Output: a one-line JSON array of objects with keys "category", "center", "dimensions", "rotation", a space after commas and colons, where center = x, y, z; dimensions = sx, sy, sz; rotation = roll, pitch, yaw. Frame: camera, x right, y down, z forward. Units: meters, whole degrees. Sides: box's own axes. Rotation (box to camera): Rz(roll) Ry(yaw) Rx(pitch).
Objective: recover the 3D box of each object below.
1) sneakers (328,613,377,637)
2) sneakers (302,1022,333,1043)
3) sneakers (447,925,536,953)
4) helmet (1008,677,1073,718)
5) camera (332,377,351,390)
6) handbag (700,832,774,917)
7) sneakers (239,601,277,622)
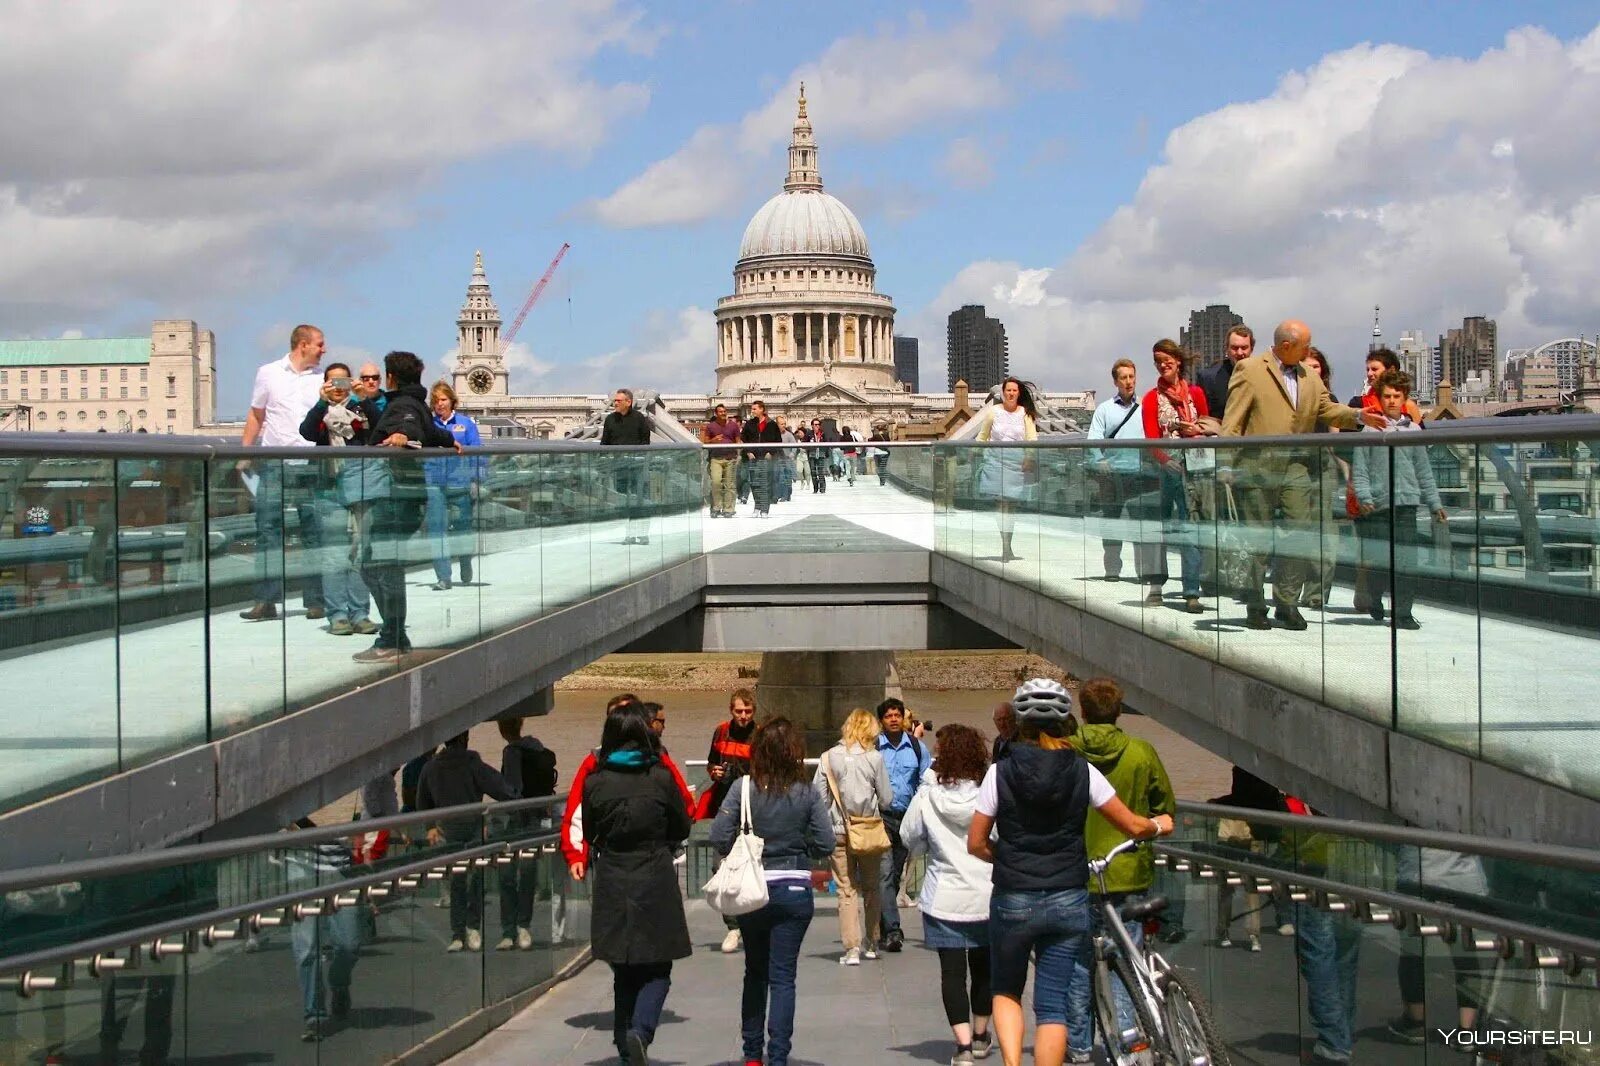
[{"category": "sneakers", "center": [-2.656, 0.532, 8.970], "dimensions": [0.130, 0.165, 0.385], "rotation": [4, -8, -37]}, {"category": "sneakers", "center": [-2.244, 2.321, 7.069], "dimensions": [0.116, 0.070, 0.039], "rotation": [3, -1, 26]}, {"category": "sneakers", "center": [-1.852, 2.439, 9.137], "dimensions": [0.461, 0.192, 0.142], "rotation": [19, -24, -41]}, {"category": "helmet", "center": [1.109, 0.755, 7.003], "dimensions": [0.237, 0.179, 0.550], "rotation": [-2, 1, 8]}, {"category": "camera", "center": [-3.195, -1.036, 10.563], "dimensions": [0.120, 0.088, 0.118], "rotation": [7, -10, -40]}, {"category": "handbag", "center": [-0.341, 1.819, 8.074], "dimensions": [0.343, 0.434, 0.283], "rotation": [-2, 0, 8]}, {"category": "sneakers", "center": [-2.845, 0.399, 7.949], "dimensions": [0.083, 0.096, 0.250], "rotation": [7, -5, 29]}]
